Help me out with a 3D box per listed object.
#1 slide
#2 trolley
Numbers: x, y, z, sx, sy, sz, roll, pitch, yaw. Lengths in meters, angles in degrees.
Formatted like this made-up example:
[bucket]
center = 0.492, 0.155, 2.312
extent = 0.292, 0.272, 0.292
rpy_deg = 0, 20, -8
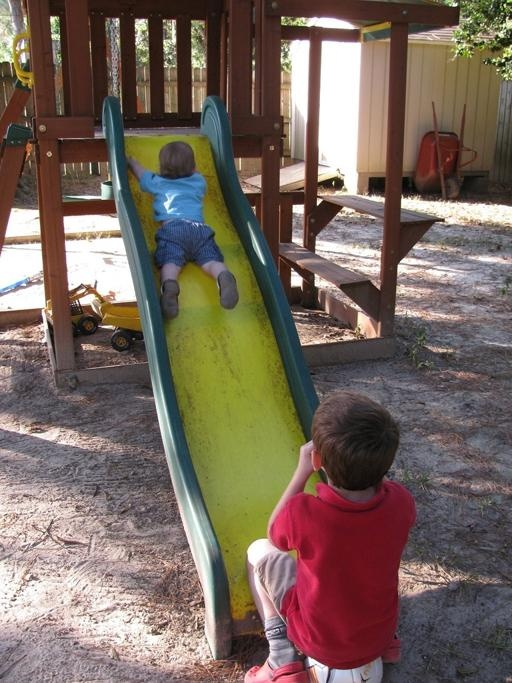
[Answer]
[slide]
center = -0.272, -0.182, 2.783
extent = 0.762, 0.697, 2.920
rpy_deg = -7, 61, -15
[trolley]
center = 4.356, -4.062, 12.314
extent = 1.619, 1.963, 1.533
rpy_deg = -5, 21, -13
